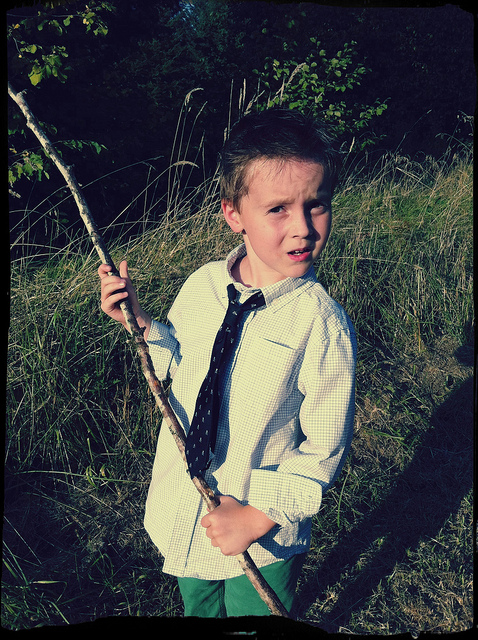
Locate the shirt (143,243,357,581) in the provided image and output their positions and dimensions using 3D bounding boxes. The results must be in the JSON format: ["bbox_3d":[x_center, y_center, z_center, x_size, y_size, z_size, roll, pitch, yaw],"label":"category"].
[{"bbox_3d":[0.024,0.266,1.805,0.691,0.937,0.476,17,24,31],"label":"shirt"}]

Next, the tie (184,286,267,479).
[{"bbox_3d":[-0.032,0.116,1.611,0.135,0.596,0.063,13,-4,9],"label":"tie"}]

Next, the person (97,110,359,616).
[{"bbox_3d":[-0.025,0.170,1.693,0.688,1.470,0.558,16,21,40],"label":"person"}]
